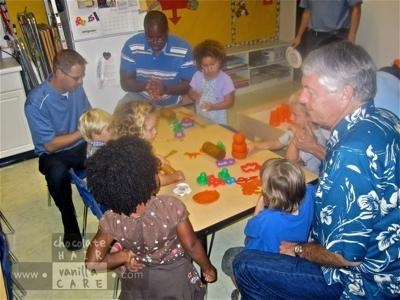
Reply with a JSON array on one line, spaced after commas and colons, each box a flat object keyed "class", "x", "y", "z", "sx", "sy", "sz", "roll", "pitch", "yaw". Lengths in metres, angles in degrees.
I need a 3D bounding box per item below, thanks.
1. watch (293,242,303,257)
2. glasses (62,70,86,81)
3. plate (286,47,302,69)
[{"class": "watch", "x": 0.542, "y": 0.549, "z": 1.770, "sx": 0.018, "sy": 0.054, "sz": 0.054, "roll": 9, "pitch": -18, "yaw": -37}, {"class": "glasses", "x": -1.108, "y": -0.660, "z": 2.863, "sx": 0.176, "sy": 0.101, "sz": 0.064, "roll": -17, "pitch": 29, "yaw": -28}, {"class": "plate", "x": 1.344, "y": -1.347, "z": 4.631, "sx": 0.071, "sy": 0.339, "sz": 0.337, "roll": -21, "pitch": 66, "yaw": 10}]
